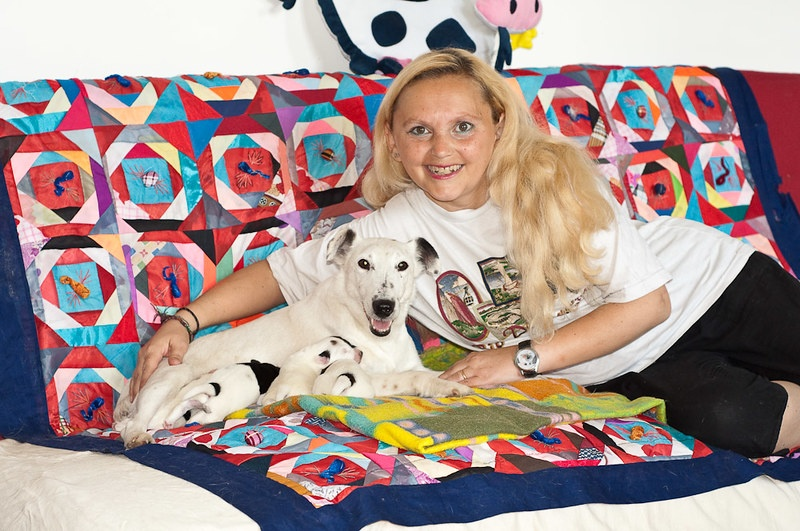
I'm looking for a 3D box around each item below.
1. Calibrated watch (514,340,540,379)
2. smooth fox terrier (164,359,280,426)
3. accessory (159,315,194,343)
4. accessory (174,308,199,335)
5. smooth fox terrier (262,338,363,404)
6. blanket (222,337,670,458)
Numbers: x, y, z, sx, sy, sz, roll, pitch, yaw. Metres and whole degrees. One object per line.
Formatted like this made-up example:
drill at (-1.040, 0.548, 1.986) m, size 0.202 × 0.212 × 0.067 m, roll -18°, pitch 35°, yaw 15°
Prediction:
Calibrated watch at (0.567, 0.426, 2.979) m, size 0.115 × 0.144 × 0.137 m, roll -4°, pitch -19°, yaw 5°
smooth fox terrier at (-0.778, 0.550, 2.956) m, size 0.290 × 0.179 × 0.567 m, roll -14°, pitch 10°, yaw 40°
accessory at (-1.086, 0.328, 3.240) m, size 0.054 × 0.155 × 0.139 m, roll -36°, pitch 48°, yaw 13°
accessory at (-1.024, 0.274, 3.216) m, size 0.044 × 0.135 × 0.117 m, roll -41°, pitch 56°, yaw -15°
smooth fox terrier at (-0.405, 0.546, 3.057) m, size 0.235 × 0.184 × 0.427 m, roll 24°, pitch 43°, yaw 39°
blanket at (0.269, 0.622, 2.792) m, size 1.709 × 0.342 × 0.689 m, roll -9°, pitch 11°, yaw -21°
